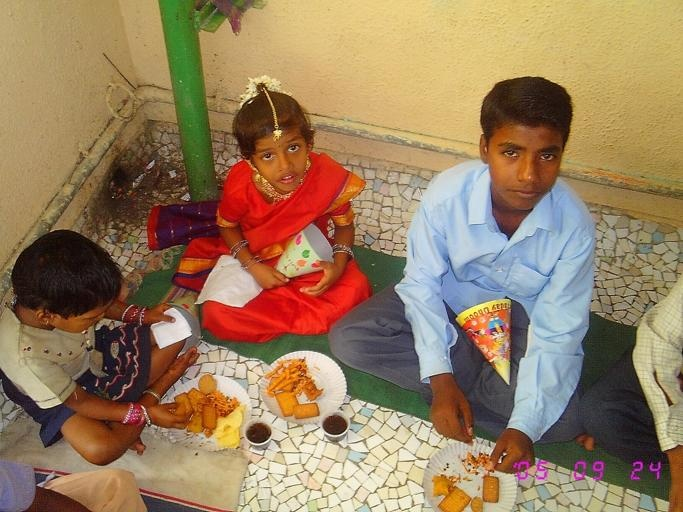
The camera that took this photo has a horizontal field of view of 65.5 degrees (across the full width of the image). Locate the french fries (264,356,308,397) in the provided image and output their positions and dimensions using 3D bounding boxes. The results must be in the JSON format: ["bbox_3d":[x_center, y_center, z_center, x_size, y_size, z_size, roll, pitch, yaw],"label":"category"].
[{"bbox_3d":[-0.272,0.602,2.695,0.198,0.070,0.151,-31,64,8],"label":"french fries"}]

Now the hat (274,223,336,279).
[{"bbox_3d":[-0.199,-0.006,2.891,0.310,0.318,0.185,6,41,0],"label":"hat"}]

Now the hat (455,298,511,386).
[{"bbox_3d":[0.734,0.416,2.536,0.303,0.325,0.337,-22,70,23],"label":"hat"}]

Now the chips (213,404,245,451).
[{"bbox_3d":[-0.544,0.847,2.583,0.156,0.040,0.153,39,62,14],"label":"chips"}]

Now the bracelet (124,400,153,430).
[{"bbox_3d":[-0.967,0.755,2.507,0.101,0.050,0.112,12,52,-26],"label":"bracelet"}]

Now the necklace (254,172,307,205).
[{"bbox_3d":[-0.375,-0.348,2.777,0.171,0.180,0.054,-14,40,13],"label":"necklace"}]

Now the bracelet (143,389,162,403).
[{"bbox_3d":[-0.937,0.690,2.633,0.069,0.047,0.064,-17,52,-27],"label":"bracelet"}]

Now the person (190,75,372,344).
[{"bbox_3d":[-0.339,-0.252,2.863,1.184,1.155,0.870,0,40,-2],"label":"person"}]

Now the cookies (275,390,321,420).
[{"bbox_3d":[-0.208,0.726,2.601,0.160,0.038,0.147,-5,39,-22],"label":"cookies"}]
